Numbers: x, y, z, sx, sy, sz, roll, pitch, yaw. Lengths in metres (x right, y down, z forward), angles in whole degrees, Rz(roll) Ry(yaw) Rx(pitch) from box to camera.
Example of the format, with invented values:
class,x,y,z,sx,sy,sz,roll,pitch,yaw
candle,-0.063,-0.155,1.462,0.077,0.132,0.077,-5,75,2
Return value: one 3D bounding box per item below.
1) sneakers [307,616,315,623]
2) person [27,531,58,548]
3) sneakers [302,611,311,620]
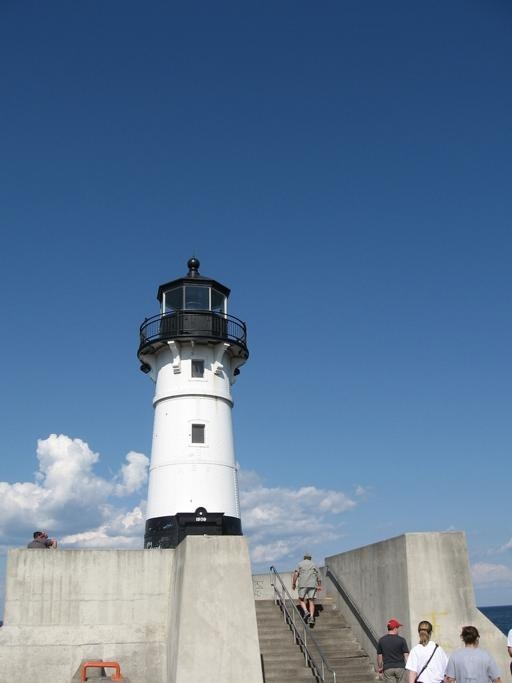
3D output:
class,x,y,z,sx,sy,sz,roll,pitch,yaw
sneakers,1.500,7.775,17.138,0.183,0.120,0.253,3,-10,-28
person,-5.741,5.384,16.582,0.685,0.511,1.988,4,-22,-18
sneakers,1.386,7.572,16.987,0.240,0.364,0.115,2,1,3
